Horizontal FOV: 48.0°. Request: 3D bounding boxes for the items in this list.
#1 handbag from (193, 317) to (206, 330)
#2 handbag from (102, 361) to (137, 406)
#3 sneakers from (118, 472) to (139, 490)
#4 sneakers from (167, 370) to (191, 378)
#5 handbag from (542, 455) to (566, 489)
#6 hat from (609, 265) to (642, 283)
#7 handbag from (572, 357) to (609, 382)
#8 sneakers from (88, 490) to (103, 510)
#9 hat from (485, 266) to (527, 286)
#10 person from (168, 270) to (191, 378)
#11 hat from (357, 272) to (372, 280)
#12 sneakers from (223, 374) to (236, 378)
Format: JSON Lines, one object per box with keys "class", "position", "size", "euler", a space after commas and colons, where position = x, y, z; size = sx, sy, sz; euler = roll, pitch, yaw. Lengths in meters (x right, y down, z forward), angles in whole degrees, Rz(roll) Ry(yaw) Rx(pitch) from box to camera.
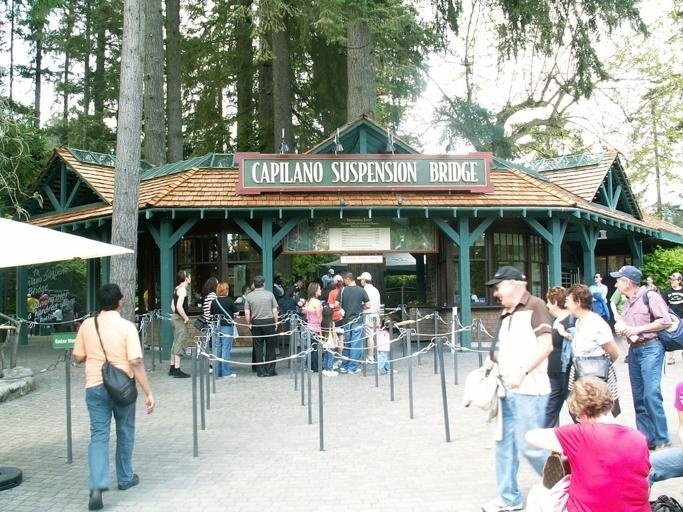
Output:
{"class": "handbag", "position": [-3.244, 1.574, 17.543], "size": [0.280, 0.292, 0.244], "euler": [3, 7, 8]}
{"class": "handbag", "position": [-3.077, 1.766, 10.555], "size": [0.484, 0.714, 0.374], "euler": [-6, -4, -26]}
{"class": "sneakers", "position": [-2.992, 3.204, 10.868], "size": [0.122, 0.129, 0.278], "euler": [3, 7, 19]}
{"class": "sneakers", "position": [-3.760, 2.749, 17.827], "size": [0.490, 0.220, 0.193], "euler": [2, -4, -14]}
{"class": "handbag", "position": [2.477, 2.507, 8.929], "size": [0.259, 0.407, 0.096], "euler": [19, 10, 27]}
{"class": "hat", "position": [4.487, 0.294, 12.117], "size": [0.436, 0.257, 0.315], "euler": [8, 3, 30]}
{"class": "handbag", "position": [3.442, 1.563, 10.530], "size": [0.402, 0.403, 0.176], "euler": [1, -5, 13]}
{"class": "sneakers", "position": [-3.297, 3.274, 10.275], "size": [0.211, 0.234, 0.133], "euler": [-1, 0, -4]}
{"class": "hat", "position": [2.200, 0.221, 10.245], "size": [0.514, 0.274, 0.348], "euler": [1, -8, 8]}
{"class": "person", "position": [-3.803, 1.590, 17.952], "size": [0.493, 2.225, 1.561], "euler": [-1, 0, -13]}
{"class": "hat", "position": [0.503, 0.456, 18.258], "size": [0.305, 0.173, 0.236], "euler": [6, -5, 18]}
{"class": "sneakers", "position": [-2.622, 2.827, 18.085], "size": [0.264, 0.121, 0.092], "euler": [-1, 0, -5]}
